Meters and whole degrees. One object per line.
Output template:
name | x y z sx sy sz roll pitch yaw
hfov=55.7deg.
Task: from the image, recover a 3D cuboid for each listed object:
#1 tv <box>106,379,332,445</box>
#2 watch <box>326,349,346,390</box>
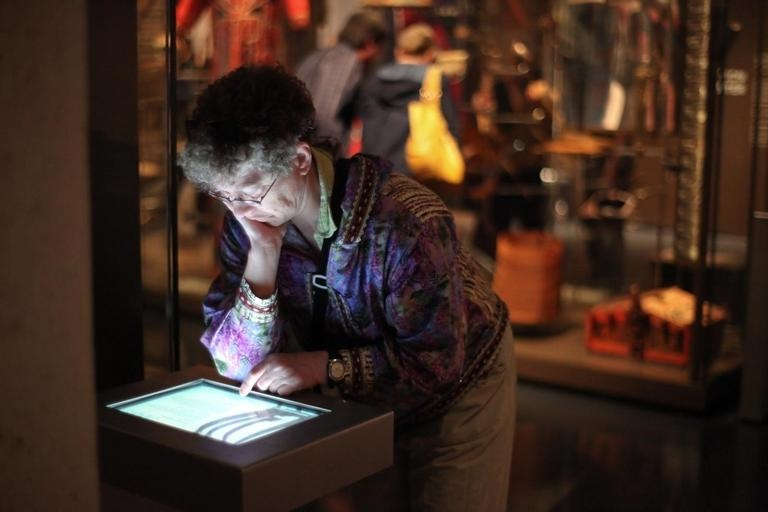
tv | -0.341 0.318 1.516 0.421 0.043 0.256 11 13 30
watch | -0.108 0.257 1.639 0.045 0.071 0.065 -5 0 -29
